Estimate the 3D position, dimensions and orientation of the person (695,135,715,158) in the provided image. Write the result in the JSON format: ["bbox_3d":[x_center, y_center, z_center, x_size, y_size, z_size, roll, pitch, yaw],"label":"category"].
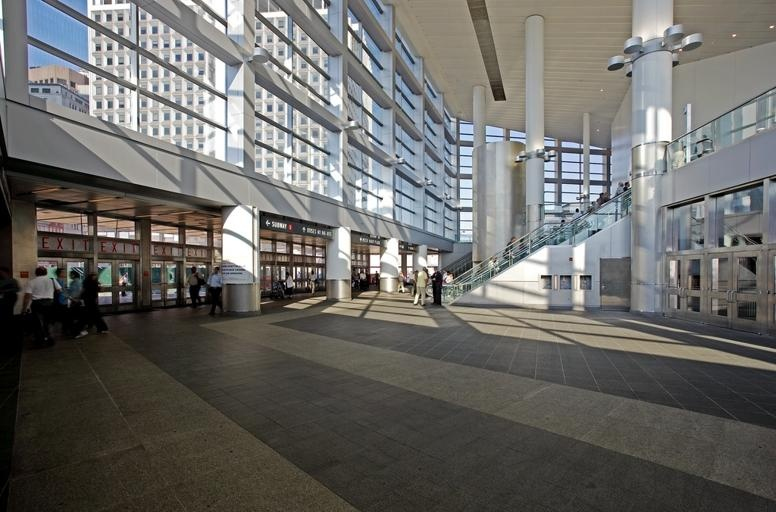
[{"bbox_3d":[9.732,-3.334,16.645,0.432,0.827,0.471,4,-7,-4],"label":"person"}]

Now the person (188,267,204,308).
[{"bbox_3d":[-7.395,1.156,20.985,0.558,1.613,1.616,-1,-2,-20],"label":"person"}]

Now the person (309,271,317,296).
[{"bbox_3d":[-4.389,1.450,32.028,0.479,1.378,1.889,-2,-2,-9],"label":"person"}]

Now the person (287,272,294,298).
[{"bbox_3d":[-4.879,1.409,27.013,0.317,1.237,1.111,-2,-2,-11],"label":"person"}]
